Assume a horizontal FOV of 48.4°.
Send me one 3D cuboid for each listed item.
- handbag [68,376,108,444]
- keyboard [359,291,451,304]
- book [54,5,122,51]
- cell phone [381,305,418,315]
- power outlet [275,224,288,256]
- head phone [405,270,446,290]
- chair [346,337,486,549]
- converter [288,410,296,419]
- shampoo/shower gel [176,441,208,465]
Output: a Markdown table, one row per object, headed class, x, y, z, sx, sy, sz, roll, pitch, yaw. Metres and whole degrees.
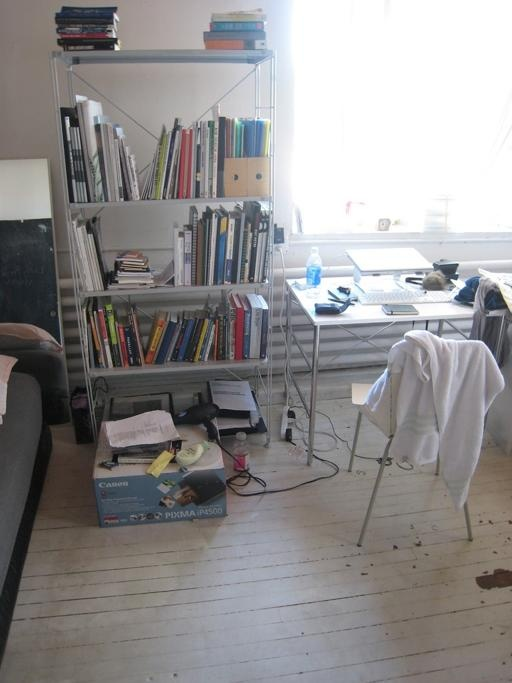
| class | x | y | z | sx | sy | sz | roll | pitch | yaw |
| --- | --- | --- | --- | --- | --- | --- | --- | --- | --- |
| handbag | -0.842 | 0.352 | 2.851 | 0.212 | 0.269 | 0.367 | -2 | 0 | -10 |
| keyboard | 0.719 | -0.212 | 2.730 | 0.472 | 0.037 | 0.156 | -2 | 18 | -8 |
| book | -0.635 | -1.196 | 2.231 | 0.204 | 0.117 | 0.197 | -2 | 26 | -5 |
| cell phone | 0.650 | -0.143 | 2.574 | 0.151 | 0.021 | 0.164 | 3 | 17 | 8 |
| power outlet | 0.135 | -0.553 | 3.058 | 0.079 | 0.134 | 0.137 | -1 | 44 | -4 |
| head phone | 0.870 | -0.310 | 2.958 | 0.193 | 0.088 | 0.114 | 9 | 21 | 34 |
| chair | 0.602 | 0.282 | 1.931 | 0.424 | 0.663 | 0.184 | 3 | 19 | 9 |
| converter | 0.186 | 0.381 | 2.968 | 0.057 | 0.050 | 0.029 | -1 | 18 | -3 |
| shampoo/shower gel | -0.258 | 0.447 | 2.304 | 0.067 | 0.034 | 0.099 | 9 | 31 | 29 |
